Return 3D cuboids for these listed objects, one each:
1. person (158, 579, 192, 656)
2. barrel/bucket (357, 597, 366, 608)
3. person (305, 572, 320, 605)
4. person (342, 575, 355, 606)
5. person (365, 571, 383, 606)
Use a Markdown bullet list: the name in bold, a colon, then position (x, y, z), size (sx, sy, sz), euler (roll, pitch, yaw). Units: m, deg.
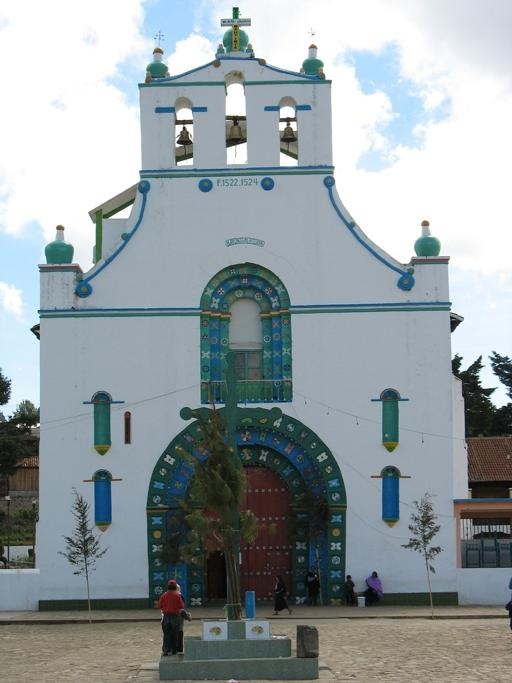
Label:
- **person**: position (-1.877, 6.253, 38.759), size (0.658, 1.756, 1.206), euler (0, -13, -3)
- **barrel/bucket**: position (2.972, 7.308, 47.930), size (0.235, 0.356, 0.237), euler (-1, -11, 0)
- **person**: position (1.621, 6.965, 48.264), size (0.377, 0.973, 0.348), euler (-1, -13, -1)
- **person**: position (2.641, 7.046, 48.141), size (0.360, 0.835, 0.261), euler (-1, -13, 3)
- **person**: position (3.341, 6.982, 48.247), size (0.525, 0.953, 0.367), euler (0, -13, -1)
